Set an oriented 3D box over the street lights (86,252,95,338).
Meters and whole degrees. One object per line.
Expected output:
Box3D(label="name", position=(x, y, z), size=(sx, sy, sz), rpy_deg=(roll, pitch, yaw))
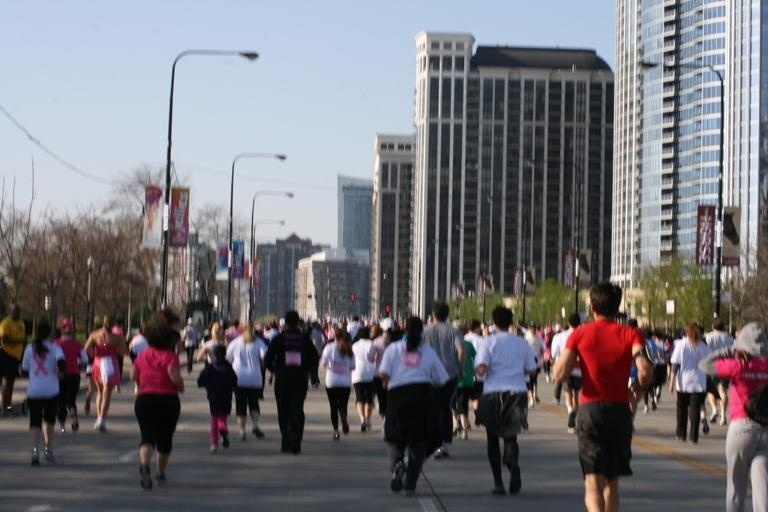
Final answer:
Box3D(label="street lights", position=(-17.921, 2.150, 85.486), size=(0.591, 4.253, 0.627), rpy_deg=(-3, -9, -2))
